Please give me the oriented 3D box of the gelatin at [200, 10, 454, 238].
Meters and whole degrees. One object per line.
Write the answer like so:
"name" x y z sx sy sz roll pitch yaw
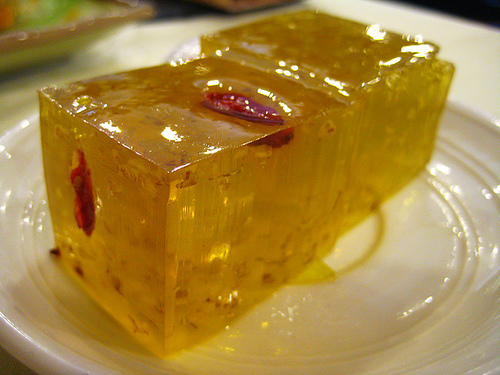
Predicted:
"gelatin" 0.112 -0.127 1.098 0.431 0.319 0.430 32 49 31

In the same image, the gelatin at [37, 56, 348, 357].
"gelatin" -0.087 -0.021 0.887 0.355 0.312 0.431 26 35 31
